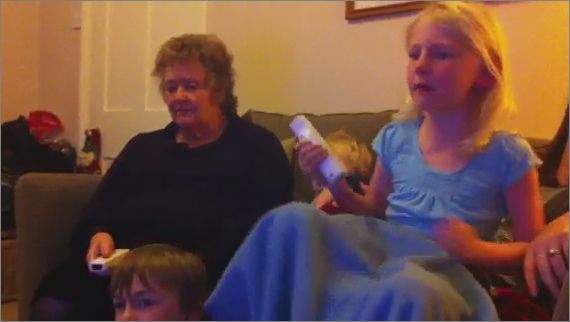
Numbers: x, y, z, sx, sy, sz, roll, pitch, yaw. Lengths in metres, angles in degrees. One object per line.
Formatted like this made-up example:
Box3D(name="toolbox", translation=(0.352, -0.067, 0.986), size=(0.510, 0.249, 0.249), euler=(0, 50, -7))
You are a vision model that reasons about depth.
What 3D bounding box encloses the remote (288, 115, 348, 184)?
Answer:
Box3D(name="remote", translation=(0.159, -0.061, 2.629), size=(0.140, 0.431, 0.126), euler=(-36, -8, -1))
